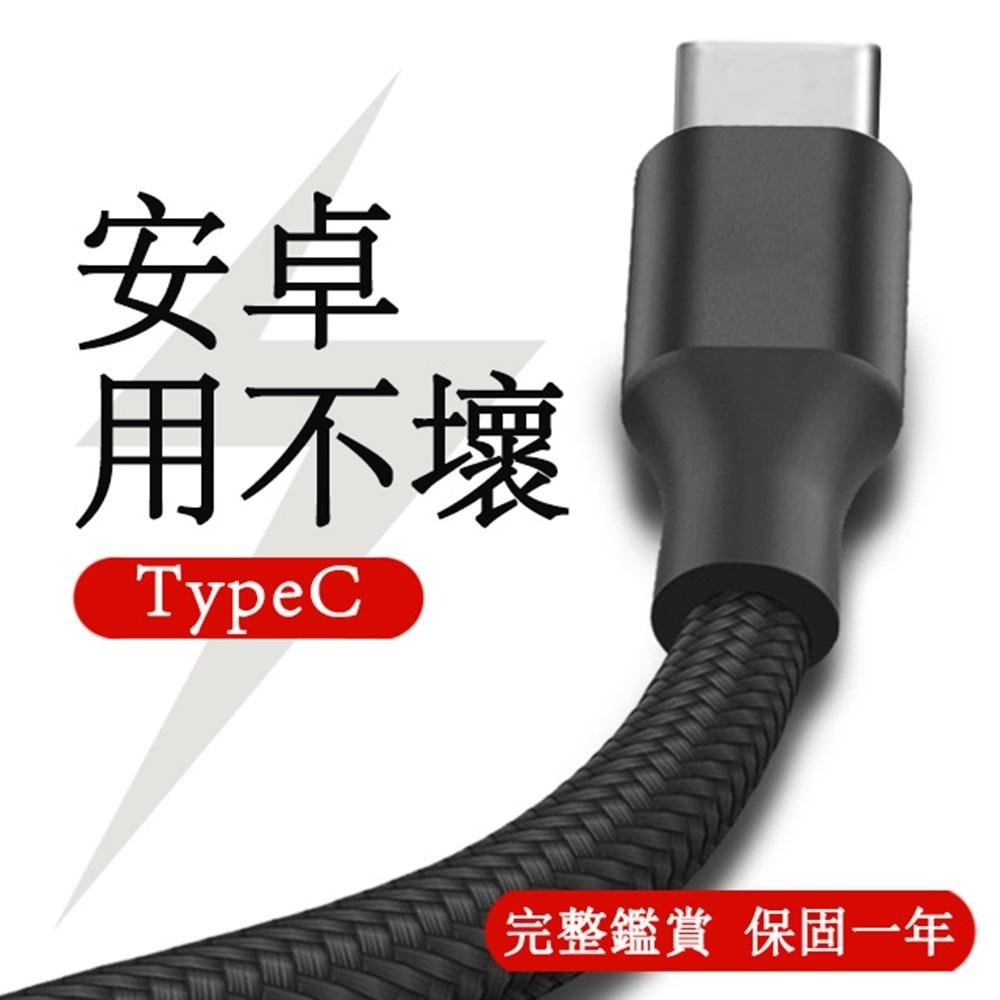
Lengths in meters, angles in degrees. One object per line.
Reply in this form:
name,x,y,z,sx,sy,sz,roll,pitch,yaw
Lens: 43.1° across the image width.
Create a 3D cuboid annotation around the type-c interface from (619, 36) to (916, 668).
type-c interface,0.146,-0.072,0.614,0.171,0.277,0.083,2,-30,16
